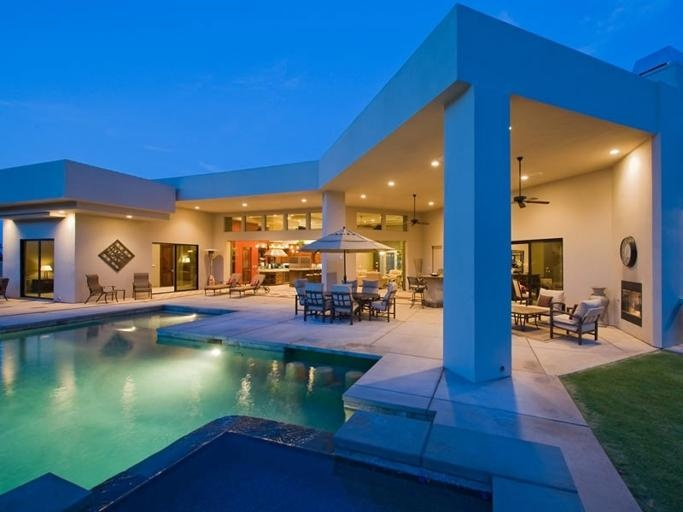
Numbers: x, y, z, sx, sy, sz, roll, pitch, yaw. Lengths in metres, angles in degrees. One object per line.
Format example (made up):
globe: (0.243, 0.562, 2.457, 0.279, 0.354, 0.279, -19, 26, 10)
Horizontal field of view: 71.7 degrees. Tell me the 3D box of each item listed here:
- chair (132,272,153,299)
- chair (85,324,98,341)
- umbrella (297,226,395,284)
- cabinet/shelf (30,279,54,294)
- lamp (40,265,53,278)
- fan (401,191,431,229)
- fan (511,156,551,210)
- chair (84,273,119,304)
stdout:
chair: (-7.753, 1.133, 18.316, 0.884, 1.264, 0.902, 2, -5, -28)
chair: (-6.761, 2.075, 12.822, 0.334, 0.377, 0.327, -1, 0, -38)
umbrella: (0.115, -0.265, 13.653, 2.038, 1.464, 2.070, -1, -1, 5)
cabinet/shelf: (-10.968, 1.090, 17.371, 0.545, 0.410, 0.300, 1, 3, 16)
lamp: (-10.762, 0.542, 17.252, 0.775, 0.522, 0.148, -3, -3, 37)
fan: (3.193, -1.804, 20.357, 1.028, 1.448, 1.154, -3, -4, 36)
fan: (5.228, -2.105, 13.636, 1.360, 1.322, 1.432, -2, 1, -30)
chair: (-8.612, 1.161, 16.937, 1.046, 1.323, 0.922, -1, -1, 17)
